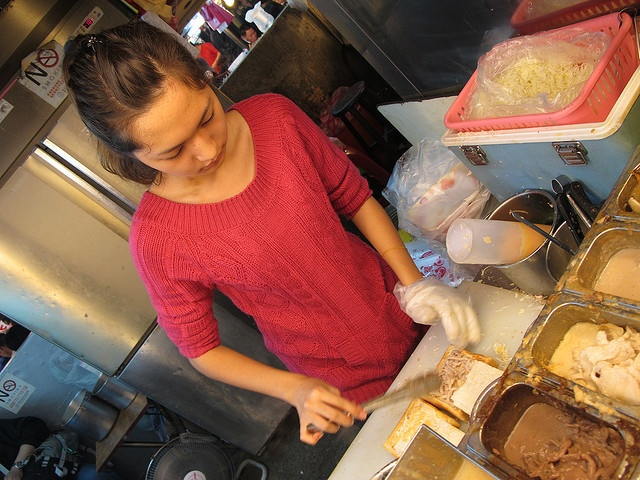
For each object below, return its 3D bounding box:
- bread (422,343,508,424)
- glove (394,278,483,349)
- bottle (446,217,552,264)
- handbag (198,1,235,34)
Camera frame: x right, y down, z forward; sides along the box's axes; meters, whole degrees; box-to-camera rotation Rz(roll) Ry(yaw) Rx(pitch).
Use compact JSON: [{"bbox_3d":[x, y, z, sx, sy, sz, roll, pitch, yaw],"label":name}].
[{"bbox_3d":[0.447,0.469,1.323,0.208,0.065,0.212,26,83,44],"label":"bread"},{"bbox_3d":[0.410,0.270,1.459,0.289,0.214,0.201,-5,26,20],"label":"glove"},{"bbox_3d":[0.578,0.010,1.358,0.259,0.159,0.258,7,11,-1],"label":"bottle"},{"bbox_3d":[-0.662,-1.421,2.584,0.121,0.159,0.061,-49,12,20],"label":"handbag"}]
